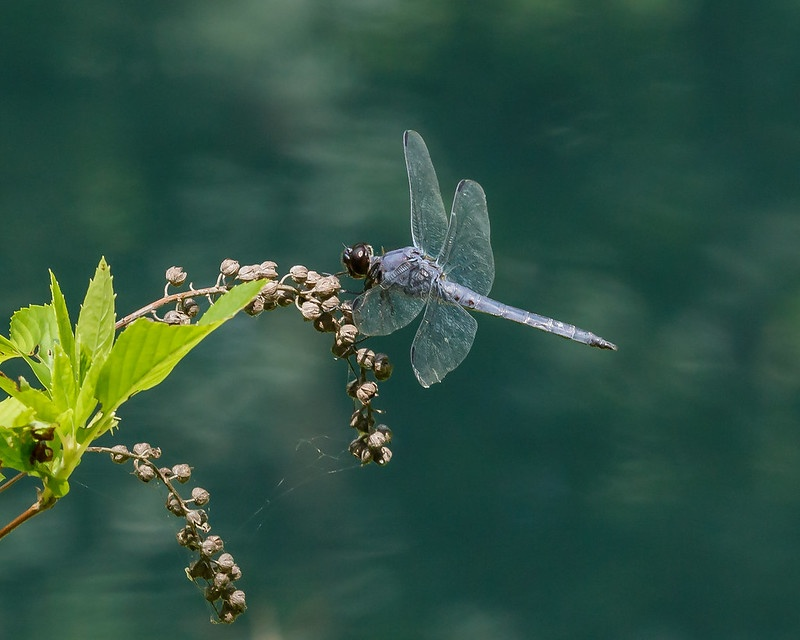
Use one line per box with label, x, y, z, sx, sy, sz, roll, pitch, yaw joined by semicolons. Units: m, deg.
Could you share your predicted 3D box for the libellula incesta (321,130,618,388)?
libellula incesta;0.124;-0.091;2.116;0.510;0.203;0.470;15;48;-5
